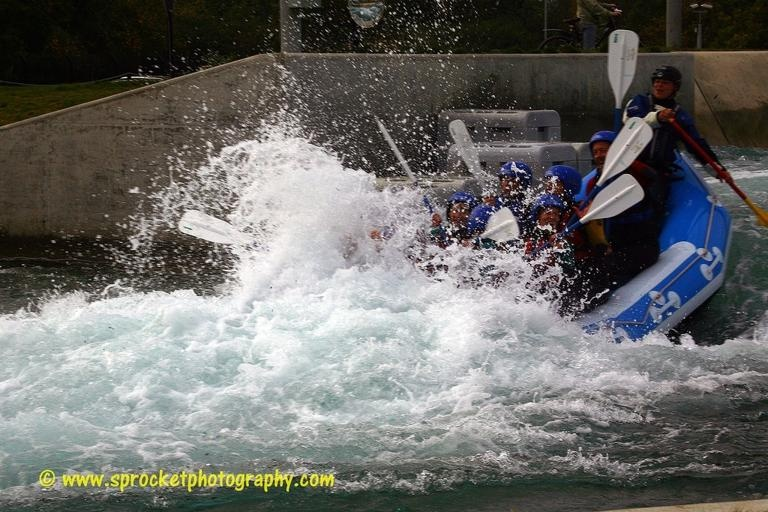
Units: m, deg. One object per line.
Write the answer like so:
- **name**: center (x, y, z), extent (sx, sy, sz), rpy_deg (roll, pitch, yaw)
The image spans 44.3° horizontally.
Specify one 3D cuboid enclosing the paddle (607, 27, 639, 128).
- **paddle**: center (3.150, -2.367, 12.477), extent (0.596, 0.074, 1.217), rpy_deg (-1, 93, 11)
